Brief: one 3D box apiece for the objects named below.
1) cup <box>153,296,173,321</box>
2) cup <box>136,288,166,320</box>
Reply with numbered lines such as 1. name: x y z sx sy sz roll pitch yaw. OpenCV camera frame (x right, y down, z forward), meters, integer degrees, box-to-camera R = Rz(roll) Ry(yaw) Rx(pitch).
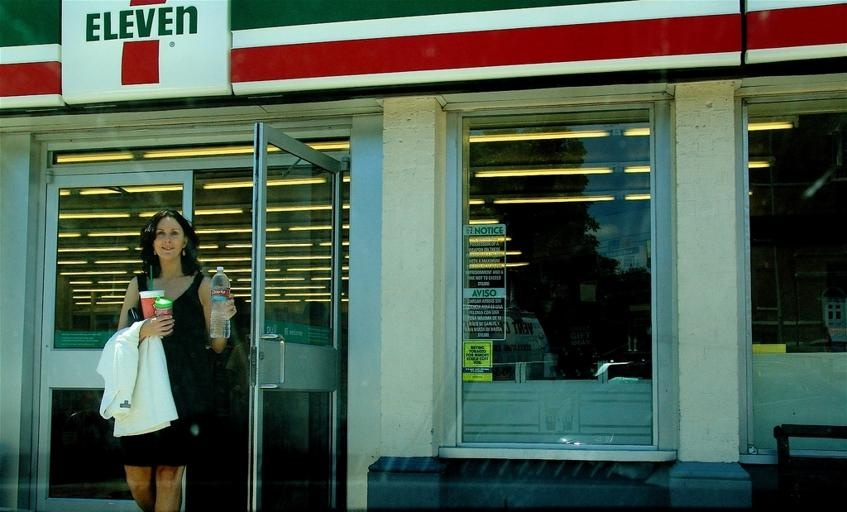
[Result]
1. cup: -2.243 0.460 9.135 0.179 0.177 0.174 0 3 0
2. cup: -2.369 0.401 9.164 0.241 0.264 0.239 0 -5 0
